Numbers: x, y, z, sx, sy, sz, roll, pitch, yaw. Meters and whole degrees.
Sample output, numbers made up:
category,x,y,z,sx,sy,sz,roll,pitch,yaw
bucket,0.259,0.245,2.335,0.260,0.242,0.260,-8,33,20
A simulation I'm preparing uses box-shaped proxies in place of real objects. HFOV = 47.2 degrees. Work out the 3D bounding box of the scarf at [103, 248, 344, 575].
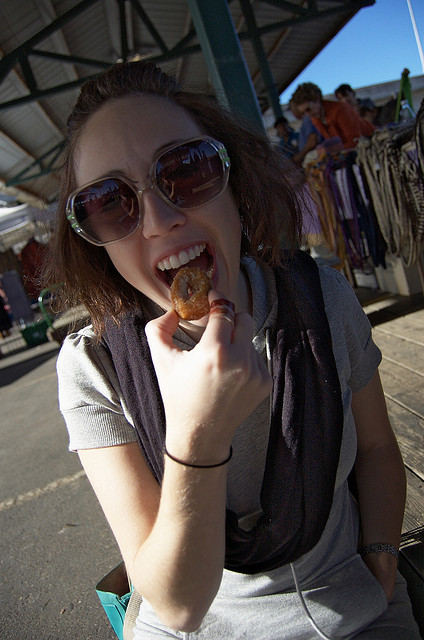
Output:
category,x,y,z,sx,sy,sz,roll,pitch,yaw
scarf,0.120,0.246,1.353,0.666,0.757,0.495,-18,9,-15

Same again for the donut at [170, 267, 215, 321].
category,x,y,z,sx,sy,sz,roll,pitch,yaw
donut,-0.058,-0.065,1.191,0.099,0.123,0.041,-6,-23,11
